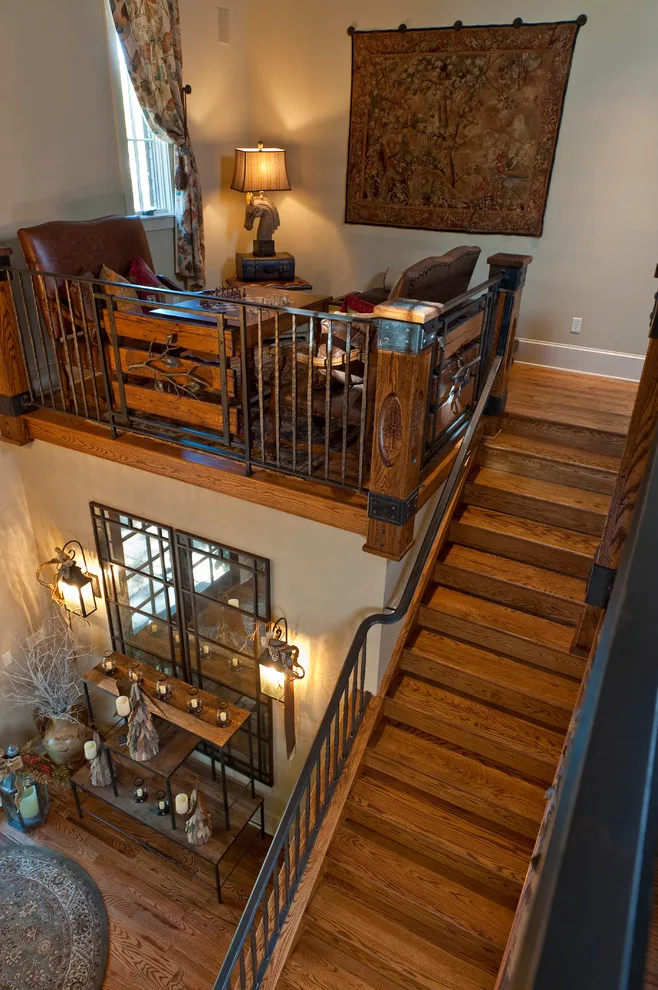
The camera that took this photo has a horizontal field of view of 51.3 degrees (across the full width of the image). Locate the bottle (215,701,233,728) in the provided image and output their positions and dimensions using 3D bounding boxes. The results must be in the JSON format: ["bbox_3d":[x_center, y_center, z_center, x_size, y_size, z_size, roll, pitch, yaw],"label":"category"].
[{"bbox_3d":[-0.684,1.402,4.463,0.093,0.115,0.213,2,8,-9],"label":"bottle"}]

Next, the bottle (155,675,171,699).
[{"bbox_3d":[-1.131,1.301,4.700,0.085,0.111,0.197,2,8,-13],"label":"bottle"}]

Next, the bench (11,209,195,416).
[{"bbox_3d":[-1.464,-1.098,4.257,0.719,1.233,0.918,28,48,18],"label":"bench"}]

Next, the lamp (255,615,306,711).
[{"bbox_3d":[-0.267,1.021,4.101,0.195,0.537,0.192,1,-15,-9],"label":"lamp"}]

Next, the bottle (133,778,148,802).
[{"bbox_3d":[-1.344,2.091,4.895,0.084,0.097,0.096,1,33,1],"label":"bottle"}]

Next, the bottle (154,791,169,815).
[{"bbox_3d":[-1.175,2.162,4.817,0.062,0.070,0.135,5,27,-10],"label":"bottle"}]

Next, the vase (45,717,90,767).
[{"bbox_3d":[-1.977,1.864,5.173,0.224,0.388,0.226,29,43,32],"label":"vase"}]
